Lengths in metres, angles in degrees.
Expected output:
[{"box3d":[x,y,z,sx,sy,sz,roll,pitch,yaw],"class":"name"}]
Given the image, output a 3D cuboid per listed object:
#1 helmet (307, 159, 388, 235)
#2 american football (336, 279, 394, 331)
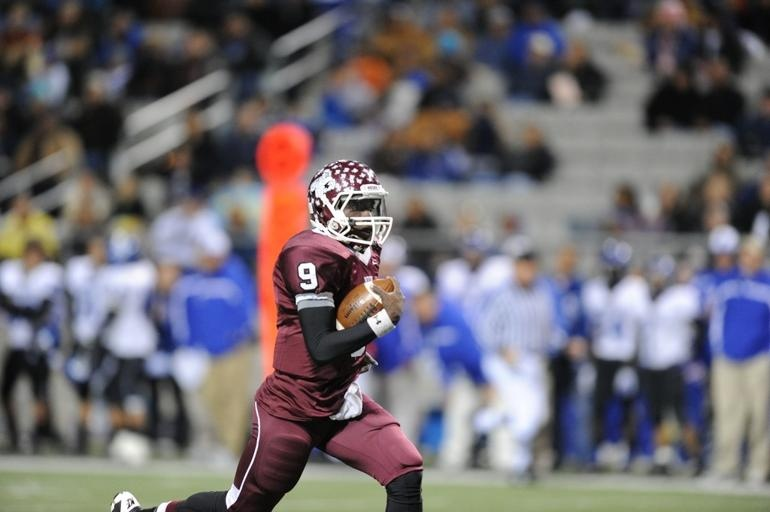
[{"box3d":[-0.246,-0.443,10.570,0.418,0.675,0.547,-3,12,-32],"class":"helmet"},{"box3d":[-0.141,0.318,10.310,0.329,0.386,0.321,-18,-8,-39],"class":"american football"}]
